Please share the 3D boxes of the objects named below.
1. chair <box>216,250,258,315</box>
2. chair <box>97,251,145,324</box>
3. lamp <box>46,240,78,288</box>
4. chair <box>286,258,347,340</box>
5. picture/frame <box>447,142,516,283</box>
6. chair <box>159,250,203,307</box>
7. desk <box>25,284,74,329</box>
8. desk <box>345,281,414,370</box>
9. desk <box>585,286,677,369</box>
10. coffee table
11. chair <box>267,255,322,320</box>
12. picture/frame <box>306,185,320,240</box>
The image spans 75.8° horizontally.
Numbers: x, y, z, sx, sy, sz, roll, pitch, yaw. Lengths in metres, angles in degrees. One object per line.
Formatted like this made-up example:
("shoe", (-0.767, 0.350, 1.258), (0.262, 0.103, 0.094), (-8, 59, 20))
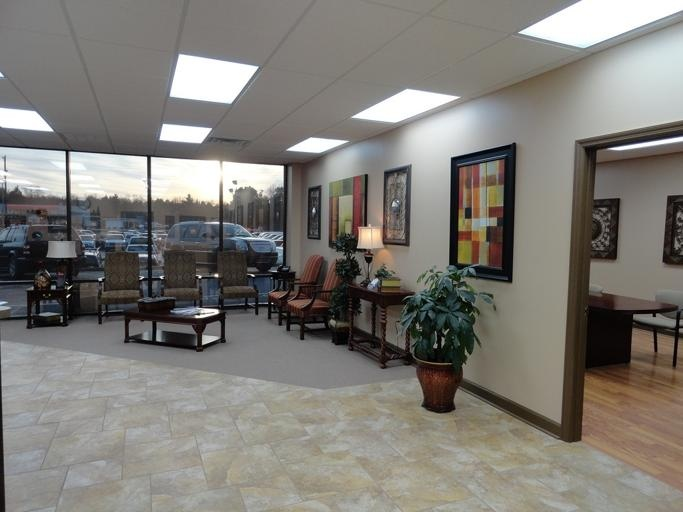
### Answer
("chair", (-2.042, 0.506, 8.607), (0.734, 1.242, 0.807), (0, 2, -14))
("chair", (-4.038, 0.558, 7.961), (0.806, 1.223, 0.820), (-2, 6, -43))
("lamp", (-4.887, 0.099, 7.675), (0.438, 0.727, 0.434), (-2, 9, -40))
("chair", (-0.454, 0.689, 7.429), (0.917, 1.264, 0.899), (1, 1, -33))
("picture/frame", (1.525, -0.475, 4.802), (0.084, 1.401, 0.935), (-4, 8, -31))
("chair", (-3.005, 0.448, 8.265), (0.628, 1.114, 0.656), (-1, -6, -24))
("desk", (-5.005, 0.784, 7.570), (0.711, 0.743, 0.718), (1, 2, 42))
("desk", (0.521, 0.948, 6.236), (0.510, 1.028, 1.104), (-2, 5, -26))
("desk", (4.076, 1.041, 6.139), (0.651, 0.556, 1.086), (-2, 6, -19))
("coffee table", (-2.505, 1.065, 6.703), (1.414, 0.514, 0.756), (3, 7, 19))
("chair", (-0.872, 0.629, 8.259), (0.894, 1.329, 0.771), (3, 2, -24))
("picture/frame", (-0.534, -0.839, 8.622), (0.110, 1.032, 0.692), (-2, 7, -19))
